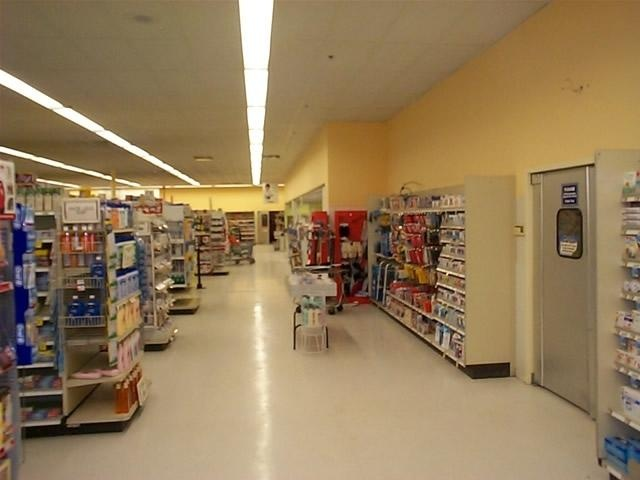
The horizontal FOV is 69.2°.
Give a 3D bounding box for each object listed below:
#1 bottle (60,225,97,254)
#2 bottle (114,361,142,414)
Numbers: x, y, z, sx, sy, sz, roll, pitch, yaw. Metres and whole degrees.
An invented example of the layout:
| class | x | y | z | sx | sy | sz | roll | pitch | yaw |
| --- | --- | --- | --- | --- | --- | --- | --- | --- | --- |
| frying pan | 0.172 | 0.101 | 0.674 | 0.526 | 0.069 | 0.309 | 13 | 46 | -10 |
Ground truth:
| class | x | y | z | sx | sy | sz | roll | pitch | yaw |
| --- | --- | --- | --- | --- | --- | --- | --- | --- | --- |
| bottle | -2.716 | -0.007 | 5.161 | 0.294 | 0.293 | 0.149 | 0 | 3 | -9 |
| bottle | -2.285 | 1.806 | 5.515 | 0.178 | 0.275 | 0.682 | -2 | -2 | -5 |
